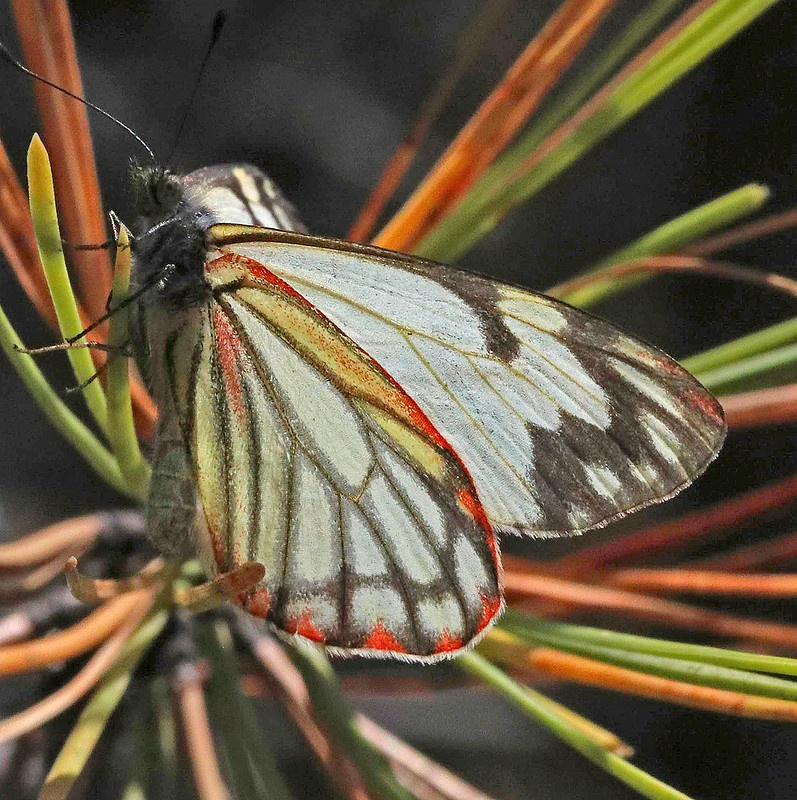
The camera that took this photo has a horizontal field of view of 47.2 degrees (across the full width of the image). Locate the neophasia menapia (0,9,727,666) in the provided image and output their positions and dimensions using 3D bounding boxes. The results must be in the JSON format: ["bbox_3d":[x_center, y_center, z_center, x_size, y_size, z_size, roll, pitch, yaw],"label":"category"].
[{"bbox_3d":[-0.073,-0.014,0.626,0.446,0.271,0.229,43,43,8],"label":"neophasia menapia"}]
